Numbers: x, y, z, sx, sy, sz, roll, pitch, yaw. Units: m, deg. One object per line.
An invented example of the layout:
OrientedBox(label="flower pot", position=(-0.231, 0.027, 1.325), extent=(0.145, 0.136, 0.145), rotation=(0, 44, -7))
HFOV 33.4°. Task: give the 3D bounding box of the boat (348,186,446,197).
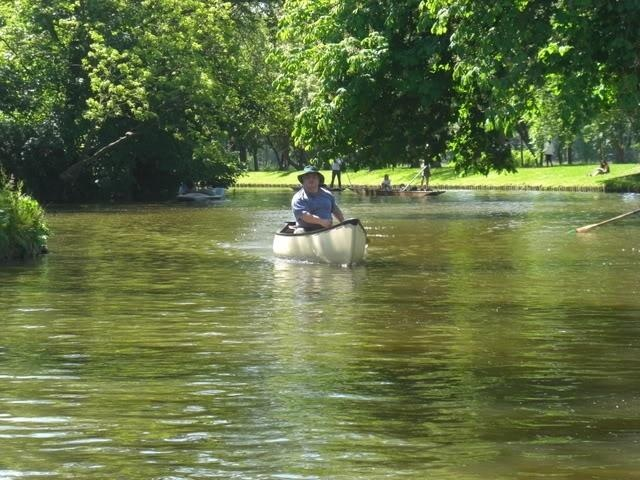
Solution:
OrientedBox(label="boat", position=(4.201, -2.629, 59.062), extent=(5.461, 0.400, 1.125), rotation=(4, 4, 44))

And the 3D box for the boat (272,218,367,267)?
OrientedBox(label="boat", position=(0.098, 0.146, 23.403), extent=(0.877, 0.696, 2.499), rotation=(-7, 0, -25))

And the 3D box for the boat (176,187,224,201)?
OrientedBox(label="boat", position=(-6.107, -2.341, 56.906), extent=(0.864, 0.538, 2.636), rotation=(-3, 4, 24))
